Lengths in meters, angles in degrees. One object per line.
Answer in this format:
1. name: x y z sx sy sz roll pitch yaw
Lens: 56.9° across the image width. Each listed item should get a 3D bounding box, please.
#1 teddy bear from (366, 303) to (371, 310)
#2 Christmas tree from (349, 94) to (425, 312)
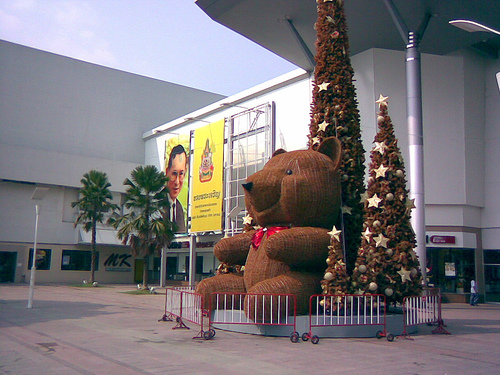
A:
1. teddy bear: 3.554 3.563 13.882 0.113 0.190 0.169 -4 -12 15
2. Christmas tree: 4.485 0.819 14.983 2.326 6.259 2.508 -6 8 -40
